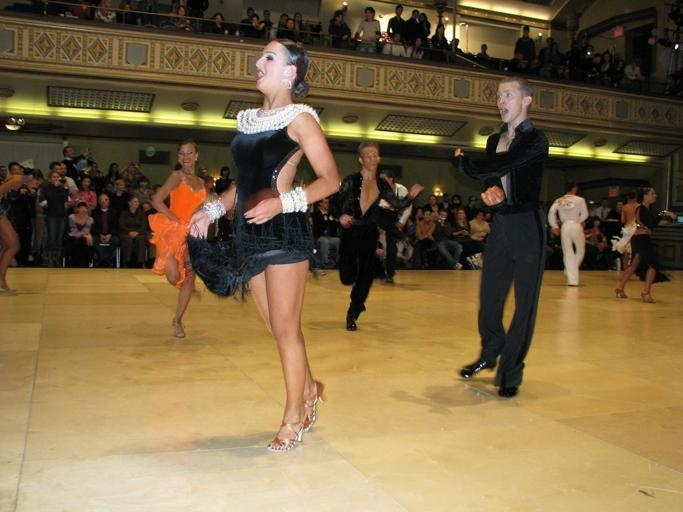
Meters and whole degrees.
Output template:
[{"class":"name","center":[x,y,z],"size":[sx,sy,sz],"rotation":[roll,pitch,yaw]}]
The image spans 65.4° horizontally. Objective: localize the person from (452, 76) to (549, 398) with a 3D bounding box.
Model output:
[{"class":"person","center":[1.217,-0.176,4.026],"size":[0.588,2.346,0.644],"rotation":[6,7,35]}]

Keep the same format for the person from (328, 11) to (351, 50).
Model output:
[{"class":"person","center":[0.001,-6.863,16.748],"size":[0.563,1.622,0.529],"rotation":[-10,19,-11]}]

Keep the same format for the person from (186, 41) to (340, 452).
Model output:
[{"class":"person","center":[-0.428,-0.116,2.960],"size":[0.769,2.244,0.726],"rotation":[0,6,-17]}]

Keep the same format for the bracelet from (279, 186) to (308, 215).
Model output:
[{"class":"bracelet","center":[-0.249,-0.290,2.764],"size":[0.144,0.142,0.188],"rotation":[1,6,-6]}]

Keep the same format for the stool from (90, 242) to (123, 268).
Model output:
[{"class":"stool","center":[-5.350,-0.010,12.267],"size":[0.751,0.720,0.533],"rotation":[1,-6,-9]}]

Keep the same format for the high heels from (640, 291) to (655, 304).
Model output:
[{"class":"high heels","center":[5.230,0.728,9.151],"size":[0.135,0.169,0.404],"rotation":[-1,-8,-1]}]

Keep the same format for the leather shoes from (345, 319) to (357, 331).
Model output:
[{"class":"leather shoes","center":[0.112,0.795,6.001],"size":[0.085,0.140,0.147],"rotation":[-8,-19,36]}]

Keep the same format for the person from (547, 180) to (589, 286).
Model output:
[{"class":"person","center":[4.872,-0.469,11.467],"size":[0.855,2.198,0.836],"rotation":[-1,3,5]}]

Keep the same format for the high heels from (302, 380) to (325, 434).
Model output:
[{"class":"high heels","center":[-0.187,0.871,3.077],"size":[0.110,0.277,0.111],"rotation":[12,7,31]}]

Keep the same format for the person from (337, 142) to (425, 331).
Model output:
[{"class":"person","center":[0.399,-0.207,6.146],"size":[1.002,2.170,0.712],"rotation":[6,9,10]}]

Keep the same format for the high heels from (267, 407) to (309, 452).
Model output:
[{"class":"high heels","center":[-0.287,0.951,2.813],"size":[0.099,0.105,0.269],"rotation":[-3,-8,16]}]

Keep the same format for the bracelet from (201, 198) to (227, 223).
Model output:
[{"class":"bracelet","center":[-0.758,-0.272,3.207],"size":[0.140,0.137,0.050],"rotation":[-4,-15,-4]}]

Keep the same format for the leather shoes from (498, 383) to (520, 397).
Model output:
[{"class":"leather shoes","center":[1.198,0.967,3.813],"size":[0.074,0.118,0.125],"rotation":[-12,-30,35]}]

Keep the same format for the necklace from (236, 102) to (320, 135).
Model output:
[{"class":"necklace","center":[-0.378,-0.727,2.825],"size":[0.509,0.172,0.164],"rotation":[5,6,28]}]
